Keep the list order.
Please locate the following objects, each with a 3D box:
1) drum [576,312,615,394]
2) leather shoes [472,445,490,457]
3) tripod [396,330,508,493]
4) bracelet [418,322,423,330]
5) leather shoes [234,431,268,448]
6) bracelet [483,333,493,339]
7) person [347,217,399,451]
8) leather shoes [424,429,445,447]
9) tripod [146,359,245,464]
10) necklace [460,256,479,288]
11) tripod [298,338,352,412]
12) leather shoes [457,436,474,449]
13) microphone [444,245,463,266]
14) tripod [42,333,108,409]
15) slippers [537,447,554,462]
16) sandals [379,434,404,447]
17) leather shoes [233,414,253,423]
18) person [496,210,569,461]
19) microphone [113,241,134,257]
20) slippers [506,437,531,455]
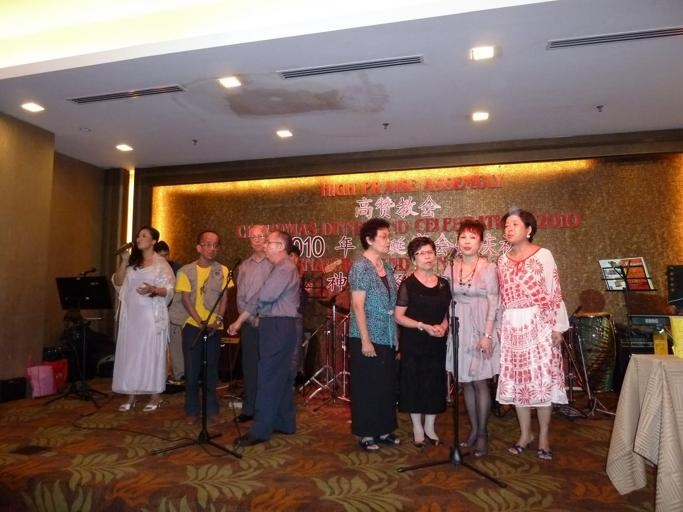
[{"bbox_3d":[3.588,1.333,7.726,0.675,1.060,0.642,0,-5,0],"label":"drum"},{"bbox_3d":[1.318,1.864,5.095,0.173,0.072,0.060,14,-22,-16],"label":"leather shoes"},{"bbox_3d":[1.153,1.398,5.257,1.158,1.432,1.085,4,-7,-44],"label":"tripod"},{"bbox_3d":[0.751,0.676,5.112,0.044,0.071,0.066,-3,3,37],"label":"bracelet"},{"bbox_3d":[-0.926,1.844,5.384,0.346,0.144,0.126,10,-13,-21],"label":"leather shoes"},{"bbox_3d":[1.372,0.748,5.063,0.060,0.040,0.065,-1,-17,31],"label":"bracelet"},{"bbox_3d":[0.314,0.680,5.156,0.490,2.066,0.359,-1,5,-12],"label":"person"},{"bbox_3d":[0.930,1.857,5.396,0.074,0.097,0.217,8,-9,-27],"label":"leather shoes"},{"bbox_3d":[-1.318,1.421,5.418,0.951,1.072,0.819,7,-4,-45],"label":"tripod"},{"bbox_3d":[1.241,0.154,5.236,0.059,0.285,0.165,13,-2,-37],"label":"necklace"},{"bbox_3d":[-0.178,1.693,7.598,0.736,1.051,0.699,5,-18,1],"label":"tripod"},{"bbox_3d":[1.218,1.833,5.269,0.184,0.093,0.344,-5,-14,22],"label":"leather shoes"},{"bbox_3d":[1.316,-0.006,6.332,0.092,0.098,0.290,5,21,20],"label":"microphone"},{"bbox_3d":[-3.458,1.369,7.275,0.943,1.263,0.849,-1,-9,-13],"label":"tripod"},{"bbox_3d":[1.927,1.857,5.068,0.152,0.091,0.155,1,5,11],"label":"slippers"},{"bbox_3d":[0.499,1.839,5.383,0.230,0.066,0.094,1,11,20],"label":"sandals"},{"bbox_3d":[-1.117,1.837,6.070,0.228,0.101,0.086,9,-9,-11],"label":"leather shoes"},{"bbox_3d":[1.799,0.474,5.081,0.643,1.837,0.372,2,5,18],"label":"person"},{"bbox_3d":[-3.123,-0.111,7.631,0.411,0.134,0.141,-33,-3,36],"label":"microphone"},{"bbox_3d":[1.713,1.811,5.181,0.214,0.039,0.105,-23,1,-36],"label":"slippers"}]
